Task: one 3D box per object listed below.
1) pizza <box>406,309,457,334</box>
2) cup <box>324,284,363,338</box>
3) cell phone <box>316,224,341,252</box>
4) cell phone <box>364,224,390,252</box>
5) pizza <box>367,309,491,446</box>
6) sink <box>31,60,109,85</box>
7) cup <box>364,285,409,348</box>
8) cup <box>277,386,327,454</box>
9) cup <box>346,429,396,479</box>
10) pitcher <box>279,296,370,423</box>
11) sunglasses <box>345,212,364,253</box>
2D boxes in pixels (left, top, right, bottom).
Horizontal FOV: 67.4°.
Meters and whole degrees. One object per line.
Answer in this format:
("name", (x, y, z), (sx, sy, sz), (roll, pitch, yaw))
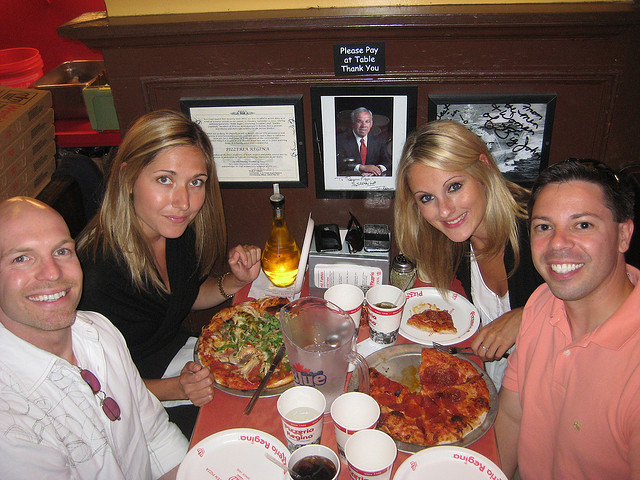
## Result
("pizza", (0.516, 0.373, 2.197), (0.125, 0.017, 0.118), (-5, 28, -2))
("cup", (0.128, 0.290, 2.118), (0.188, 0.195, 0.185), (-2, 32, 1))
("cell phone", (0.039, -0.010, 2.384), (0.120, 0.110, 0.141), (-1, 13, -1))
("cell phone", (0.279, -0.011, 2.378), (0.124, 0.105, 0.165), (1, 13, 5))
("pizza", (0.398, 0.545, 1.784), (0.448, 0.569, 0.105), (-10, 34, 3))
("sink", (-1.991, -1.344, 3.820), (0.516, 0.225, 0.354), (-10, 16, -39))
("cup", (0.233, 0.325, 2.136), (0.245, 0.257, 0.241), (-1, 23, 0))
("cup", (-0.062, 0.632, 1.653), (0.157, 0.229, 0.127), (-3, 14, -12))
("cup", (0.158, 0.694, 1.558), (0.158, 0.155, 0.157), (-2, 32, 1))
("pitcher", (0.024, 0.505, 1.870), (0.407, 0.441, 0.251), (18, 31, 26))
("sunglasses", (0.159, -0.033, 2.398), (0.069, 0.172, 0.111), (-33, -29, 33))
